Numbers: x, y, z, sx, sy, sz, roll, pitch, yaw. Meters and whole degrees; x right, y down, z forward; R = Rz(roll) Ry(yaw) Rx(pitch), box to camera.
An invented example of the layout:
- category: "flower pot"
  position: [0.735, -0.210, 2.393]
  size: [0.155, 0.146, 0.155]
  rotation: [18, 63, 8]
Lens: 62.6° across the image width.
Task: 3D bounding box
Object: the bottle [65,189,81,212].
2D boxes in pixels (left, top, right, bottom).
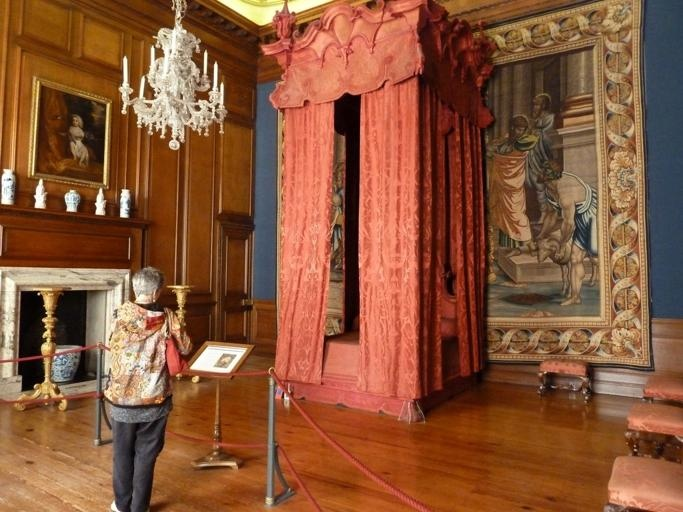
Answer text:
- category: "bottle"
  position: [-3.466, -0.705, 7.268]
  size: [0.196, 0.340, 0.370]
  rotation: [-1, -1, -24]

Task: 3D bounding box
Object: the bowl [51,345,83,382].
- category: "bowl"
  position: [-3.516, 1.438, 7.216]
  size: [0.213, 0.389, 0.388]
  rotation: [-2, -1, 15]

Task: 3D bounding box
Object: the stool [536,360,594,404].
- category: "stool"
  position: [2.897, 1.541, 7.225]
  size: [0.636, 0.460, 0.443]
  rotation: [-3, -8, 31]
